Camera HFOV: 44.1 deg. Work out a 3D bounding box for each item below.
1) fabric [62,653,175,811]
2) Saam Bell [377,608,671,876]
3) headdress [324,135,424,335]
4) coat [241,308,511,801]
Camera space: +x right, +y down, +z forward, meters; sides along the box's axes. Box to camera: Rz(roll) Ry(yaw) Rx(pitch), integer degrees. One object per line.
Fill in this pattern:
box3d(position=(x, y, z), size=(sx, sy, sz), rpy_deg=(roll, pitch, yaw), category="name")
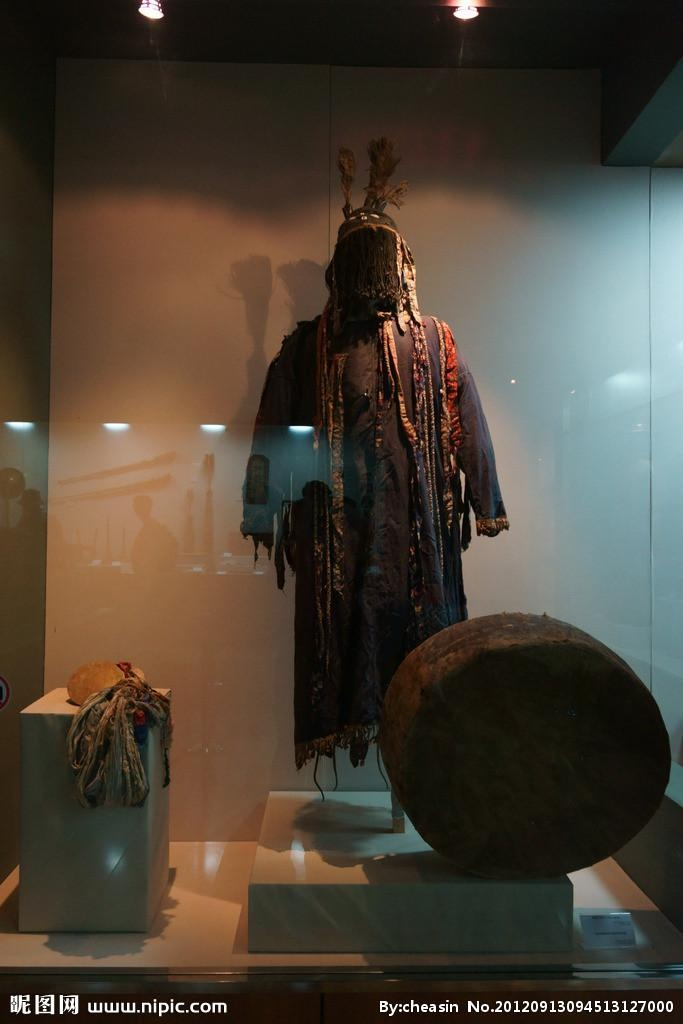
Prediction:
box3d(position=(-0.573, 0.489, 2.050), size=(0.258, 0.140, 0.373), rpy_deg=(13, 8, -11), category="fabric")
box3d(position=(0.408, 0.512, 1.818), size=(0.603, 0.566, 0.194), rpy_deg=(0, -1, -14), category="Saam Bell")
box3d(position=(0.075, -0.655, 2.000), size=(0.223, 0.446, 0.065), rpy_deg=(0, -1, 4), category="headdress")
box3d(position=(0.092, 0.049, 1.994), size=(0.513, 1.111, 0.222), rpy_deg=(-1, -17, 4), category="coat")
